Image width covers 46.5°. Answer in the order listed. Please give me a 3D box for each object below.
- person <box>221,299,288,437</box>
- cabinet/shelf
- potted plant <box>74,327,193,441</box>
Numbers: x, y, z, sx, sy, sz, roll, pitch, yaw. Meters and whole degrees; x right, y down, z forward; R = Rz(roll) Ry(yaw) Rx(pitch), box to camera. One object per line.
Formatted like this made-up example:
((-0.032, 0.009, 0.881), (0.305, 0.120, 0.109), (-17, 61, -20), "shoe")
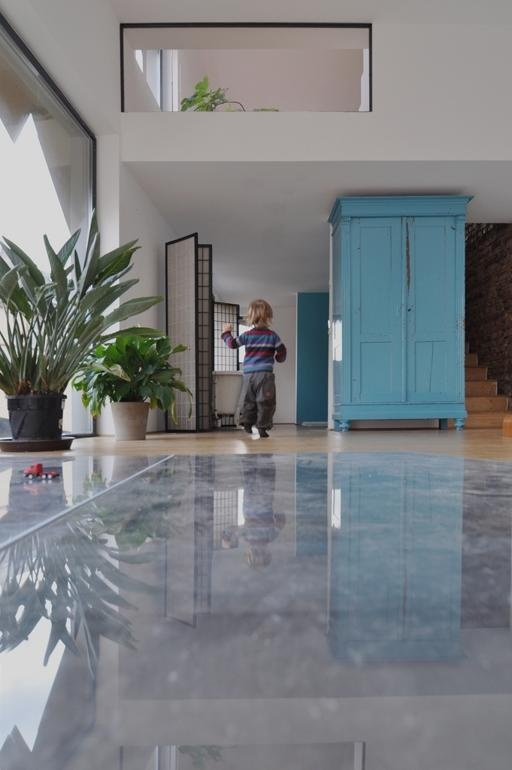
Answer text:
((-0.016, -0.134, 4.020), (0.434, 0.838, 0.719), (1, 0, -2), "person")
((1.169, -0.654, 4.661), (0.917, 1.785, 0.692), (0, 30, 14), "cabinet/shelf")
((-0.726, -0.030, 3.319), (0.534, 0.555, 0.570), (1, 3, 29), "potted plant")
